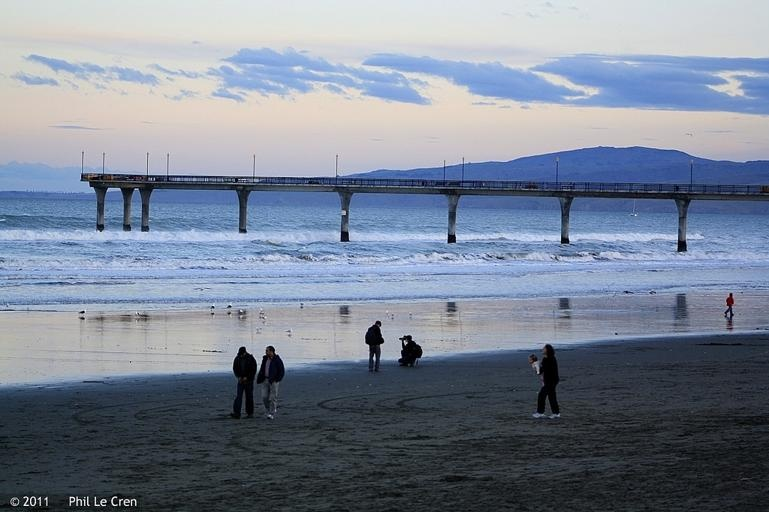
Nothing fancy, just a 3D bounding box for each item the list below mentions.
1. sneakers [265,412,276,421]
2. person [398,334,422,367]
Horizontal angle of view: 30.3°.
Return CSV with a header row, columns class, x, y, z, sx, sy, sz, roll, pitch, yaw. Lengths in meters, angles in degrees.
class,x,y,z,sx,sy,sz,roll,pitch,yaw
sneakers,-3.896,5.469,48.343,0.249,0.211,0.582,1,7,-6
person,0.932,3.558,54.060,0.885,1.099,1.150,1,9,1
